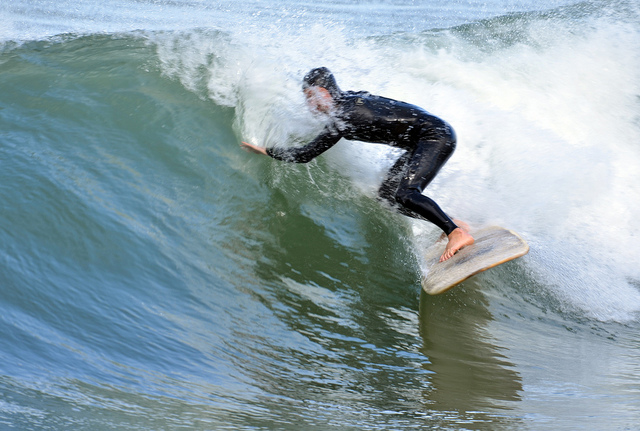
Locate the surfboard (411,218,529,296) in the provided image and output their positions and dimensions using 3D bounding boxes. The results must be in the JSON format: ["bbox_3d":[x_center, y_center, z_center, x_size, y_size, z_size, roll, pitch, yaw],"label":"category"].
[{"bbox_3d":[1.525,0.462,7.869,0.556,0.916,0.799,-50,21,8],"label":"surfboard"}]
